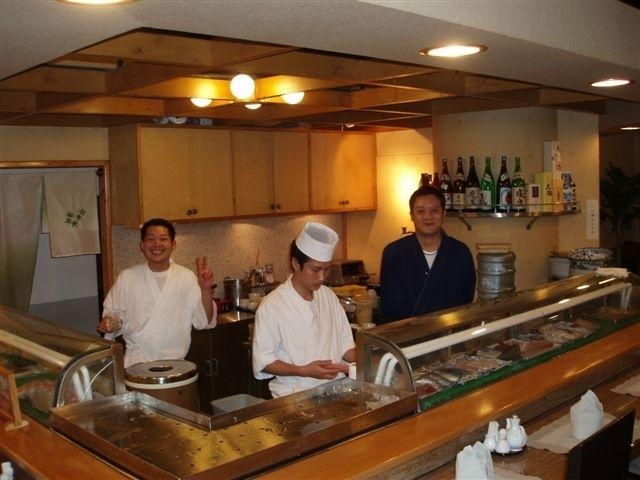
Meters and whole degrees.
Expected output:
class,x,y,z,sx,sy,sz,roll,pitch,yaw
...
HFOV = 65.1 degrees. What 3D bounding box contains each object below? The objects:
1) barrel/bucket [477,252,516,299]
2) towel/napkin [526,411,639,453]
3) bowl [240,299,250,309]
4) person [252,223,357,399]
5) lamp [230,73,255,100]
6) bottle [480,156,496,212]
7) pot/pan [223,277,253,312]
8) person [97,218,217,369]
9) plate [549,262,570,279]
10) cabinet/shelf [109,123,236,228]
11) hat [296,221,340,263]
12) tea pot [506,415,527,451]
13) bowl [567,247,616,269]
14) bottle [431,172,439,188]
class,x,y,z,sx,sy,sz,roll,pitch,yaw
barrel/bucket,1.677,0.334,4.816,0.363,0.483,0.243,6,11,18
towel/napkin,1.054,0.785,2.030,0.326,0.004,0.202,-7,7,-30
bowl,-0.825,0.700,5.445,0.103,0.074,0.100,2,4,0
person,-0.097,0.436,2.706,0.589,1.035,0.726,4,10,4
lamp,-0.517,-0.990,3.228,0.126,0.153,0.161,-4,12,-34
bottle,1.694,-0.566,5.070,0.170,0.556,0.262,6,11,16
pot/pan,-0.945,0.618,5.656,0.353,0.316,0.319,1,6,10
person,-1.116,0.350,3.501,0.755,0.975,0.351,0,11,-14
plate,2.479,0.310,5.219,0.182,0.159,0.177,4,10,23
cabinet/shelf,-1.506,-0.650,4.933,1.212,0.909,0.450,-4,10,-27
hat,-0.027,0.015,2.728,0.220,0.203,0.163,1,10,-13
tea pot,0.808,0.787,2.072,0.083,0.139,0.142,7,11,21
bowl,2.743,0.200,5.078,0.442,0.215,0.250,3,10,4
bottle,1.218,-0.633,5.300,0.084,0.155,0.421,5,9,11
